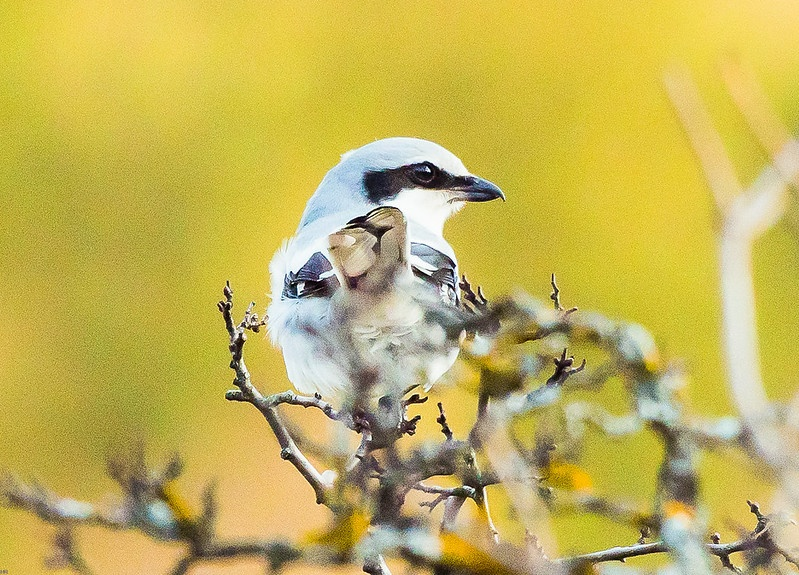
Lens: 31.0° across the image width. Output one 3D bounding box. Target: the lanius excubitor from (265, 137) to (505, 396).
[{"bbox_3d":[-0.014,-0.053,3.528,0.571,0.624,0.476,0,8,-40],"label":"lanius excubitor"}]
